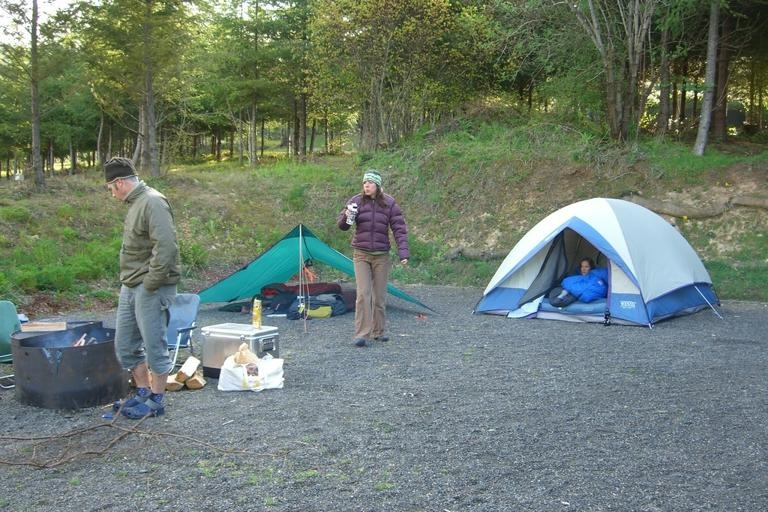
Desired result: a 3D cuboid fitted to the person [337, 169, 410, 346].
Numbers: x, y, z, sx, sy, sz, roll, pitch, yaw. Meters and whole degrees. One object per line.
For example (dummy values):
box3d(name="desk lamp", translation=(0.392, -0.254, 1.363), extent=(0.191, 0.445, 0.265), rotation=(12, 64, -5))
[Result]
box3d(name="person", translation=(-0.157, 0.026, 14.795), extent=(1.190, 3.184, 0.735), rotation=(-2, 5, -11))

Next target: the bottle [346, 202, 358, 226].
box3d(name="bottle", translation=(-0.588, -0.766, 14.723), extent=(0.202, 0.401, 0.287), rotation=(0, 5, 14))

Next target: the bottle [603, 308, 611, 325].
box3d(name="bottle", translation=(4.435, 1.230, 15.778), extent=(0.190, 0.245, 0.096), rotation=(1, -3, 22))

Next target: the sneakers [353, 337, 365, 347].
box3d(name="sneakers", translation=(-0.447, 1.580, 14.499), extent=(0.171, 0.107, 0.134), rotation=(3, -2, -7))

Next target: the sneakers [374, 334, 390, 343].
box3d(name="sneakers", translation=(-0.054, 1.544, 14.820), extent=(0.296, 0.194, 0.107), rotation=(-1, 3, -1))

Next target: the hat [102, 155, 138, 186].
box3d(name="hat", translation=(-4.065, -1.306, 12.206), extent=(0.486, 0.321, 0.344), rotation=(-8, 16, -21))
